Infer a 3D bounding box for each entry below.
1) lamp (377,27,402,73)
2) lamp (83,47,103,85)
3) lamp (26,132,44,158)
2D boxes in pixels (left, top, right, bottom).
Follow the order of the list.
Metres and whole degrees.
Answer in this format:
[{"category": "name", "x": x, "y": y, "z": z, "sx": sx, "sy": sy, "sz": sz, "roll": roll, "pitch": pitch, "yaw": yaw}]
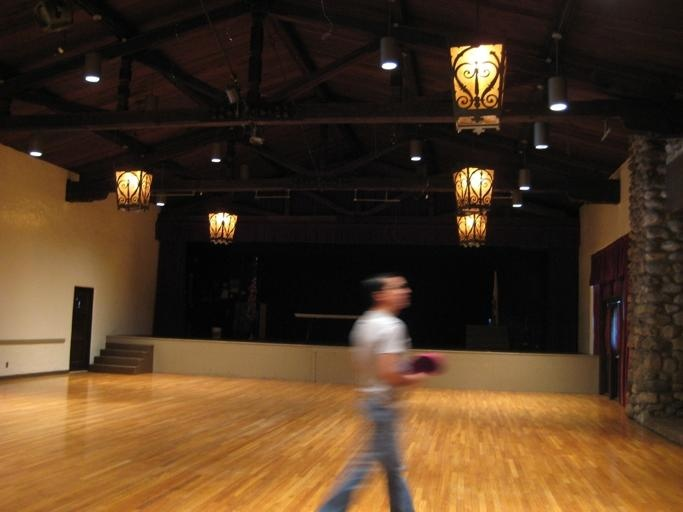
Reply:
[{"category": "lamp", "x": 0.623, "y": -2.670, "z": 6.934, "sx": 0.235, "sy": 0.443, "sz": 0.233, "roll": 1, "pitch": -3, "yaw": -3}, {"category": "lamp", "x": -3.675, "y": -2.807, "z": 7.806, "sx": 0.204, "sy": 0.467, "sz": 0.309, "roll": 3, "pitch": -4, "yaw": -30}, {"category": "lamp", "x": -6.149, "y": -2.210, "z": 10.601, "sx": 0.203, "sy": 0.392, "sz": 0.279, "roll": 3, "pitch": -4, "yaw": -25}]
